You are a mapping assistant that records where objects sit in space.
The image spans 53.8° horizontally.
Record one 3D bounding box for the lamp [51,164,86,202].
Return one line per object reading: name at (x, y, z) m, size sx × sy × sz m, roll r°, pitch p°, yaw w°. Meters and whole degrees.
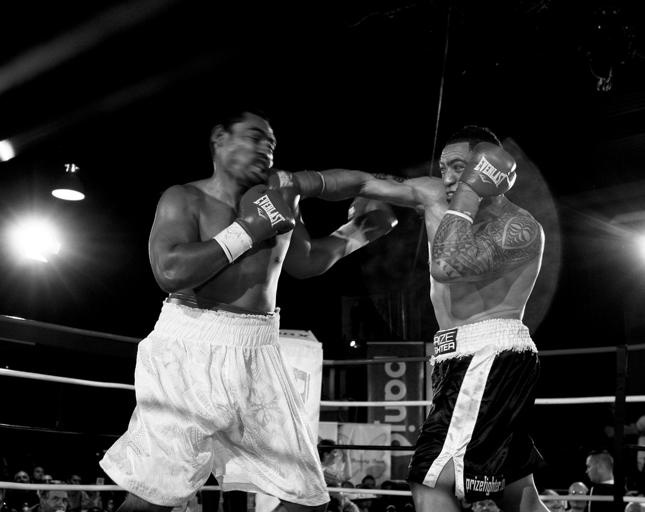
lamp at (-3.152, -0.923, 8.055) m, size 0.445 × 0.467 × 0.446 m, roll 3°, pitch -14°, yaw -7°
